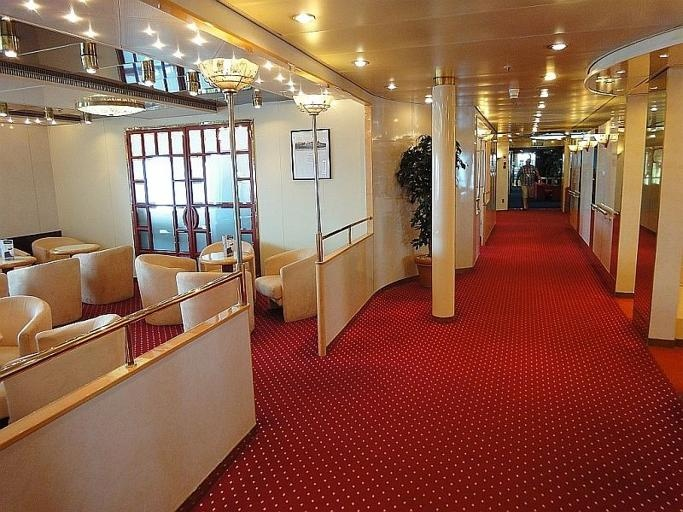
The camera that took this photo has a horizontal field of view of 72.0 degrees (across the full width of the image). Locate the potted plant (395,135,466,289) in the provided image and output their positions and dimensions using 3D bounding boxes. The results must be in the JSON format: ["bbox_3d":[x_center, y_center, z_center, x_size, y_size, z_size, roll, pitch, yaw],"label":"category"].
[{"bbox_3d":[1.434,-0.764,8.091,0.691,2.512,0.880,9,17,37],"label":"potted plant"}]

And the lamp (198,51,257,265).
[{"bbox_3d":[-0.869,-0.737,3.865,0.443,1.709,0.456,-4,14,-11],"label":"lamp"}]
